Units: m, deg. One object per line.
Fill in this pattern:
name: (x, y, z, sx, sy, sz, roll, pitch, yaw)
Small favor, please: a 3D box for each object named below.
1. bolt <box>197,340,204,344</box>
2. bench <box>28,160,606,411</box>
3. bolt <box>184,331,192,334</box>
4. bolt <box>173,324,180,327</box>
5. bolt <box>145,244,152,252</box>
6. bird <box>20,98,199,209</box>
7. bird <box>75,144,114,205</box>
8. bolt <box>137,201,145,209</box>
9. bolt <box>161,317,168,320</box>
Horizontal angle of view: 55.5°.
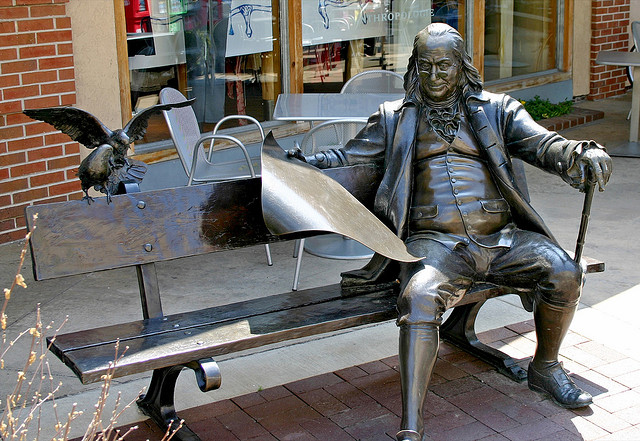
bolt: (-0.569, 0.571, 2.868, 0.036, 0.001, 0.025, 0, 17, 13)
bench: (0.040, 0.383, 3.639, 3.098, 0.969, 1.148, -6, 29, -36)
bolt: (-0.652, 0.546, 2.978, 0.041, 0.001, 0.022, -1, 17, 10)
bolt: (-0.726, 0.523, 3.051, 0.034, 0.001, 0.028, -3, 17, 3)
bolt: (-0.887, 0.139, 3.124, 0.036, 0.036, 0.014, -10, 19, -15)
bird: (-1.100, -0.334, 3.117, 0.838, 0.488, 0.433, -5, 20, -42)
bird: (-1.086, -0.215, 2.973, 0.191, 0.298, 0.093, -19, 23, -36)
bolt: (-0.925, -0.082, 3.124, 0.037, 0.030, 0.020, 10, 7, 4)
bolt: (-0.808, 0.501, 3.134, 0.033, 0.007, 0.031, -9, 18, -17)
